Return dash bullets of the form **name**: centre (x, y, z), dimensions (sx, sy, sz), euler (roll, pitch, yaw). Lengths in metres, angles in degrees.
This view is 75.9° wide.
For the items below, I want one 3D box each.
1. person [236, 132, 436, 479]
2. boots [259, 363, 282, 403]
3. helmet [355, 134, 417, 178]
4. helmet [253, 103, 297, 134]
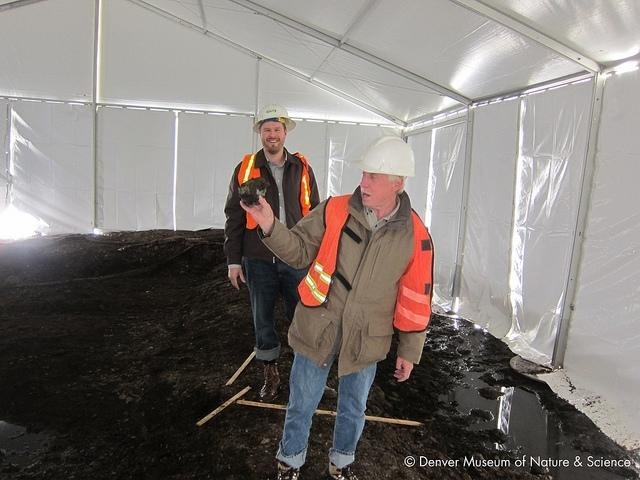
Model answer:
- **person**: centre (0.186, 0.520, 2.883), dimensions (1.169, 2.532, 0.323), euler (2, 4, -7)
- **boots**: centre (-0.468, 1.307, 3.811), dimensions (0.132, 0.274, 0.276), euler (-3, 11, 20)
- **helmet**: centre (0.474, -0.526, 2.864), dimensions (0.320, 0.196, 0.283), euler (4, 31, -27)
- **helmet**: centre (-0.404, -1.083, 3.703), dimensions (0.292, 0.174, 0.328), euler (-4, -2, 2)
